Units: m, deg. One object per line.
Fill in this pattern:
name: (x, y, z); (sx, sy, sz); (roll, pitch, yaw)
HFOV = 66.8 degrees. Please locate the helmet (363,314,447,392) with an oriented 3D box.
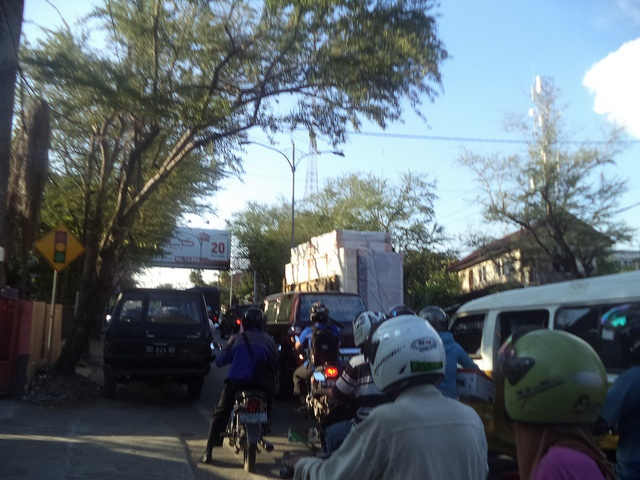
helmet: (0.421, 0.613, 2.533); (0.266, 0.360, 0.393); (-2, -17, -8)

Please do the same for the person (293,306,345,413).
person: (-0.039, 1.978, 8.183); (0.621, 1.803, 1.657); (-1, -5, -14)

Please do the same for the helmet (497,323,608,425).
helmet: (1.030, 0.619, 2.216); (0.354, 0.473, 0.485); (6, -13, -28)

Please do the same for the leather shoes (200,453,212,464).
leather shoes: (-1.443, 2.770, 6.202); (0.135, 0.146, 0.136); (5, -8, -17)

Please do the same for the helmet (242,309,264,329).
helmet: (-0.894, 1.017, 6.405); (0.195, 0.327, 0.281); (4, 7, -6)

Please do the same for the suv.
suv: (-3.777, 1.185, 11.753); (2.072, 2.467, 4.638); (3, 24, -17)

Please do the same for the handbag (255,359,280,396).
handbag: (-0.671, 1.756, 6.249); (0.143, 0.431, 0.417); (-2, -9, 32)

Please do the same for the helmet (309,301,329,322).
helmet: (-0.002, 1.227, 8.252); (0.217, 0.362, 0.303); (0, 4, -8)

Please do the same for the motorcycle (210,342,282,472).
motorcycle: (-0.989, 1.992, 6.196); (0.871, 1.740, 0.441); (4, -6, -14)
